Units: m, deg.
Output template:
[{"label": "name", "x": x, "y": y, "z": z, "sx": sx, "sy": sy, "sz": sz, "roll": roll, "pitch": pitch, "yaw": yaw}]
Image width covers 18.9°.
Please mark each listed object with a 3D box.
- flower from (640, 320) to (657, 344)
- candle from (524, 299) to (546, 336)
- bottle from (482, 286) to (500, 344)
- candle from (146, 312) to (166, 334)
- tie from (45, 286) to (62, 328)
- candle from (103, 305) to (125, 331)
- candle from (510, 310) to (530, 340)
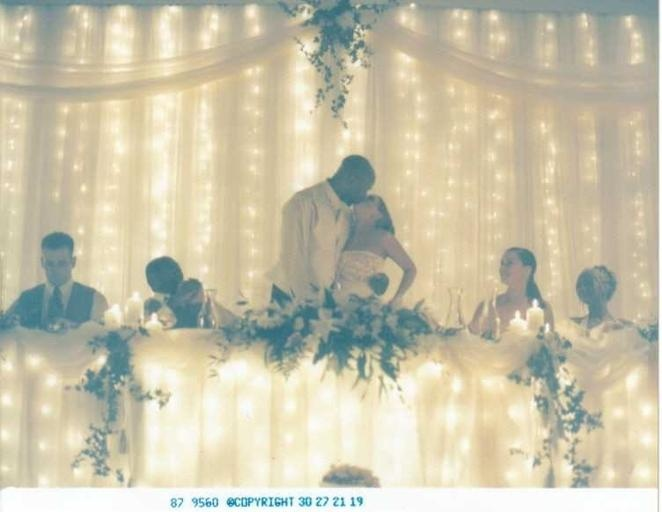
[{"label": "flower", "x": 1.965, "y": 0.452, "z": 12.140, "sx": 0.100, "sy": 0.102, "sz": 0.025, "roll": 11, "pitch": -10, "yaw": 4}, {"label": "candle", "x": 1.251, "y": 0.370, "z": 12.068, "sx": 0.150, "sy": 0.291, "sz": 0.155, "roll": -1, "pitch": 0, "yaw": -1}, {"label": "bottle", "x": 0.986, "y": 0.341, "z": 12.110, "sx": 0.103, "sy": 0.294, "sz": 0.065, "roll": -3, "pitch": -24, "yaw": 4}, {"label": "candle", "x": -1.061, "y": 0.391, "z": 12.089, "sx": 0.109, "sy": 0.131, "sz": 0.113, "roll": 2, "pitch": -10, "yaw": -10}, {"label": "tie", "x": -1.668, "y": 0.295, "z": 12.087, "sx": 0.108, "sy": 0.032, "sz": 0.310, "roll": -3, "pitch": -48, "yaw": -19}, {"label": "candle", "x": -1.307, "y": 0.356, "z": 12.042, "sx": 0.124, "sy": 0.211, "sz": 0.136, "roll": -4, "pitch": -5, "yaw": 21}, {"label": "candle", "x": 1.149, "y": 0.417, "z": 12.052, "sx": 0.133, "sy": 0.248, "sz": 0.138, "roll": -1, "pitch": -1, "yaw": -4}]
